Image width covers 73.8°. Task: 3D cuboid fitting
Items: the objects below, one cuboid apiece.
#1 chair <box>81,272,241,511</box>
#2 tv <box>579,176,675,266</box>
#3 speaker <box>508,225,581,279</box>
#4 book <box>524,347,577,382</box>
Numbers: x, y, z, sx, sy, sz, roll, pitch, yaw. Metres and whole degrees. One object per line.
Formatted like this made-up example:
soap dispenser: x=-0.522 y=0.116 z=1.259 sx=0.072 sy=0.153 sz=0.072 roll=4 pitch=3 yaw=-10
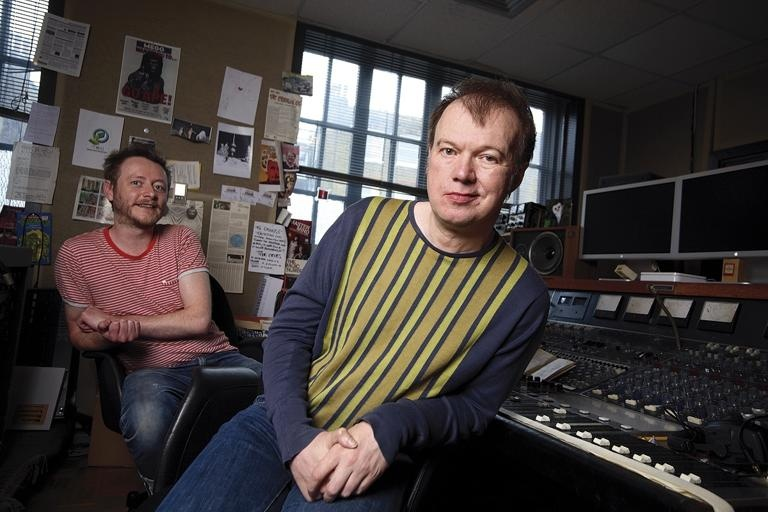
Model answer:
chair: x=-1.037 y=0.429 z=2.405 sx=0.700 sy=0.869 sz=0.727 roll=-27 pitch=19 yaw=-39
tv: x=1.371 y=-0.201 z=2.868 sx=0.051 sy=0.412 sz=0.554 roll=6 pitch=-3 yaw=-37
speaker: x=1.043 y=-0.021 z=3.286 sx=0.233 sy=0.325 sz=0.444 roll=4 pitch=-1 yaw=-37
book: x=0.626 y=0.427 z=1.998 sx=0.180 sy=0.039 sz=0.185 roll=-22 pitch=10 yaw=-24
